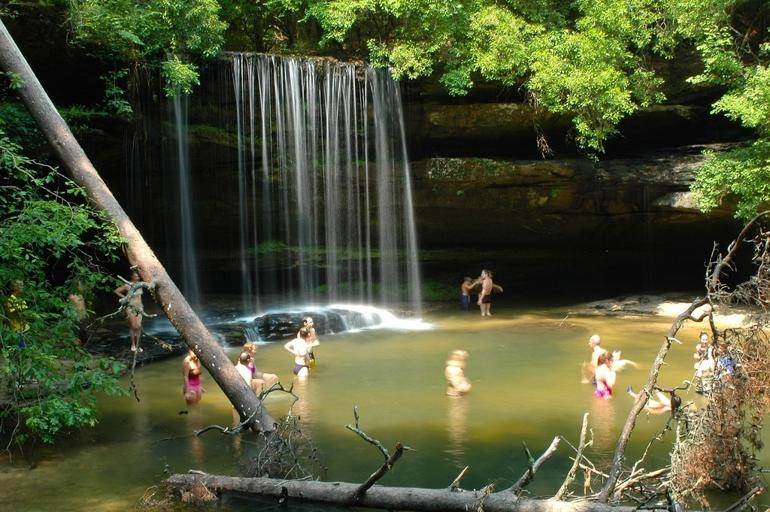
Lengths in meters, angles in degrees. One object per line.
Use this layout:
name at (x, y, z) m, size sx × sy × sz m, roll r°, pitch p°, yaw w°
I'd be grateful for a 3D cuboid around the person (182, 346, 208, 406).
person at (-5.014, 3.090, 18.045) m, size 0.482 × 1.429 × 0.580 m, roll -7°, pitch 16°, yaw -17°

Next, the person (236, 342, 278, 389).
person at (-3.219, 3.025, 17.743) m, size 0.953 × 1.536 × 0.672 m, roll 2°, pitch 5°, yaw -27°

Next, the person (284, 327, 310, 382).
person at (-2.388, 2.739, 19.690) m, size 0.587 × 1.269 × 0.867 m, roll -4°, pitch 15°, yaw -8°
